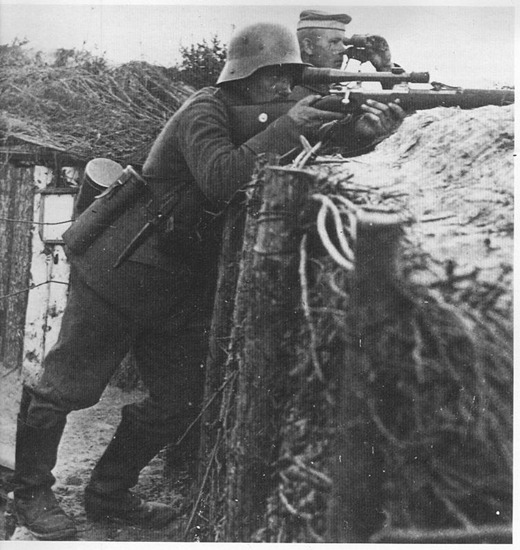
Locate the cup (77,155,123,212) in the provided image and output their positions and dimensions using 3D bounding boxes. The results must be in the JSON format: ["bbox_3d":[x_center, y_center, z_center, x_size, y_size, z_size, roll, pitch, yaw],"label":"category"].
[{"bbox_3d":[-1.259,-0.726,7.802,0.229,0.330,0.238,41,16,-14],"label":"cup"}]
